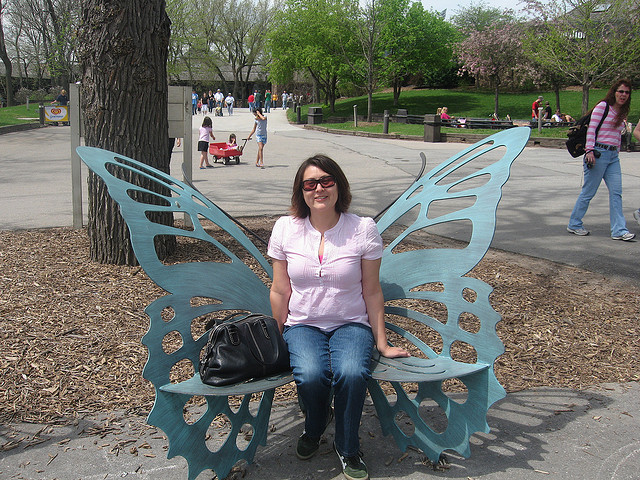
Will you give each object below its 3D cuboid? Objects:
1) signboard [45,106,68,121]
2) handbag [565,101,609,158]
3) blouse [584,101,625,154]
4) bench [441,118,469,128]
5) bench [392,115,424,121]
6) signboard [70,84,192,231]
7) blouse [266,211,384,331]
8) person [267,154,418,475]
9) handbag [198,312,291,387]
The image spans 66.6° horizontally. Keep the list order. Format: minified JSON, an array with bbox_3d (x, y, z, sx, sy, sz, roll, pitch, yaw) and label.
[{"bbox_3d":[-17.508,-8.450,32.233,1.197,0.726,0.044,-5,2,-37],"label":"signboard"},{"bbox_3d":[4.254,-1.835,7.977,0.514,0.841,0.586,16,18,6],"label":"handbag"},{"bbox_3d":[4.430,-1.759,7.558,0.547,0.807,0.276,3,14,13],"label":"blouse"},{"bbox_3d":[8.509,-7.573,31.493,1.499,0.535,1.814,0,2,-1],"label":"bench"},{"bbox_3d":[6.349,-8.746,34.587,1.914,0.402,0.883,6,13,24],"label":"bench"},{"bbox_3d":[-2.889,-1.385,7.582,1.856,2.227,0.171,0,-12,-10],"label":"signboard"},{"bbox_3d":[0.070,0.196,3.158,0.814,0.693,0.418,-2,13,23],"label":"blouse"},{"bbox_3d":[0.100,0.399,2.940,0.757,1.767,0.829,-2,14,-9],"label":"person"},{"bbox_3d":[-0.437,0.615,2.822,0.315,0.357,0.589,-5,0,43],"label":"handbag"}]
